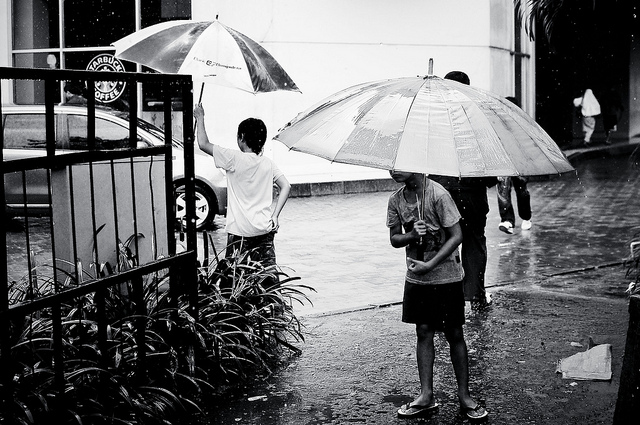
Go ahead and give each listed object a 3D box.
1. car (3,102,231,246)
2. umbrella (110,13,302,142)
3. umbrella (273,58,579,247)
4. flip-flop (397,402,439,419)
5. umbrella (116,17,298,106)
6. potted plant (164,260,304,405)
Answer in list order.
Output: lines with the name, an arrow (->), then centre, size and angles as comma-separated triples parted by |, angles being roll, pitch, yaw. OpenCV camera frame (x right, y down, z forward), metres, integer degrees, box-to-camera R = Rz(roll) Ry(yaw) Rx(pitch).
car -> -3.568, -0.532, 12.718 | 4.152, 2.225, 2.446 | -1, 8, -4
umbrella -> -1.297, -1.681, 8.787 | 1.520, 1.222, 1.577 | 15, 9, -7
umbrella -> 0.926, -0.668, 7.183 | 1.837, 1.507, 1.932 | 7, 8, -1
flip-flop -> 0.874, 1.762, 6.900 | 0.321, 0.091, 0.130 | -4, 3, -10
umbrella -> -1.261, -1.642, 7.941 | 1.192, 0.885, 1.246 | 22, 9, 0
potted plant -> -0.878, 1.252, 7.691 | 1.127, 0.568, 1.267 | 9, 35, -3
